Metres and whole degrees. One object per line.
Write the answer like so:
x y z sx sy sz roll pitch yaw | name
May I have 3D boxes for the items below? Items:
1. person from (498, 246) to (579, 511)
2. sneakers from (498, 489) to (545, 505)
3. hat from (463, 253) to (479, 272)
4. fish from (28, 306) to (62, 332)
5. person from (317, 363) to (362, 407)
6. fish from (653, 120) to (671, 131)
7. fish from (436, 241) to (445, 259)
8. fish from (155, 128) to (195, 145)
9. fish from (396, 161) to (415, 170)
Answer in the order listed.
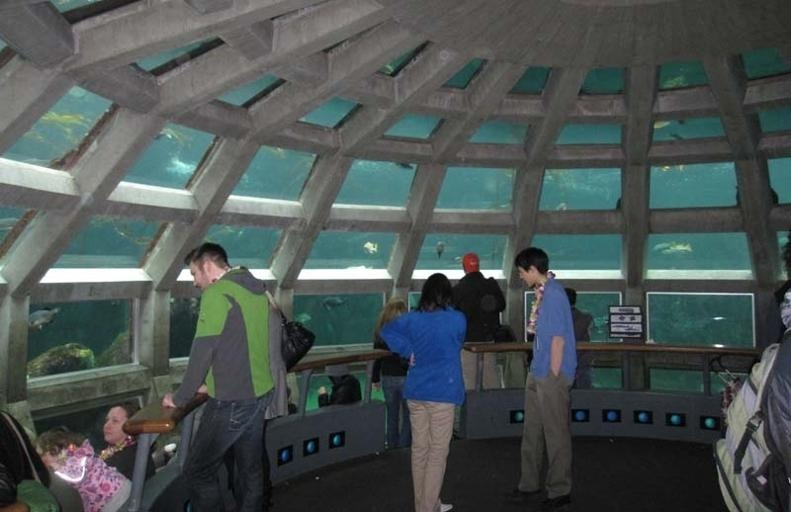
1.848 1.476 6.521 0.773 3.043 1.310 -2 -18 12 | person
1.605 2.963 6.512 0.472 0.182 0.173 5 -16 -2 | sneakers
1.294 0.075 8.970 0.275 0.323 0.304 3 -57 2 | hat
-6.462 1.100 9.618 0.378 0.461 0.591 9 -18 -22 | fish
-0.903 2.105 8.529 0.641 0.641 1.545 4 -16 -8 | person
5.679 -2.791 11.102 0.318 0.068 0.386 -7 -18 27 | fish
1.228 -0.171 14.292 0.156 0.444 0.195 3 9 -12 | fish
-3.913 -2.174 9.238 0.403 0.171 0.647 21 19 38 | fish
0.235 -2.063 12.002 0.187 0.118 0.495 -14 -22 42 | fish
